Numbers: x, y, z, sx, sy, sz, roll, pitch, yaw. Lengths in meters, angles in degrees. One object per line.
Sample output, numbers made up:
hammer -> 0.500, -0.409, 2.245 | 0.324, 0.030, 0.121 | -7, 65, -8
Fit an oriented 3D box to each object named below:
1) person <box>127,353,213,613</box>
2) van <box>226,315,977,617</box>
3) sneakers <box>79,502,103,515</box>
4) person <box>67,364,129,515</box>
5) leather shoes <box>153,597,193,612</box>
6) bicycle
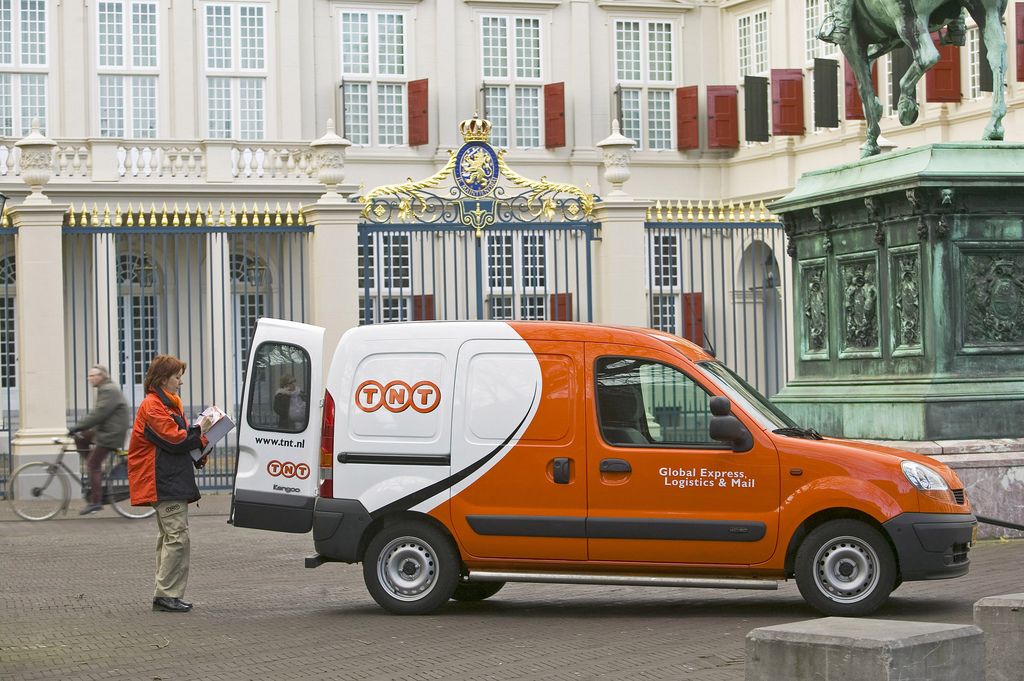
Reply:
person -> -3.432, 1.418, 18.215 | 0.691, 2.471, 0.629 | -8, 8, -37
van -> 0.951, 1.324, 19.070 | 7.249, 2.816, 2.888 | -1, -2, 6
sneakers -> -5.654, 2.231, 24.264 | 0.376, 0.134, 0.165 | -5, -18, 24
person -> -5.501, 1.349, 24.384 | 0.772, 1.979, 0.881 | -6, 7, -27
leather shoes -> -3.369, 2.604, 18.111 | 0.271, 0.096, 0.172 | 0, 2, 0
bicycle -> -5.633, 1.937, 24.693 | 2.385, 1.217, 0.904 | 1, -2, 5
